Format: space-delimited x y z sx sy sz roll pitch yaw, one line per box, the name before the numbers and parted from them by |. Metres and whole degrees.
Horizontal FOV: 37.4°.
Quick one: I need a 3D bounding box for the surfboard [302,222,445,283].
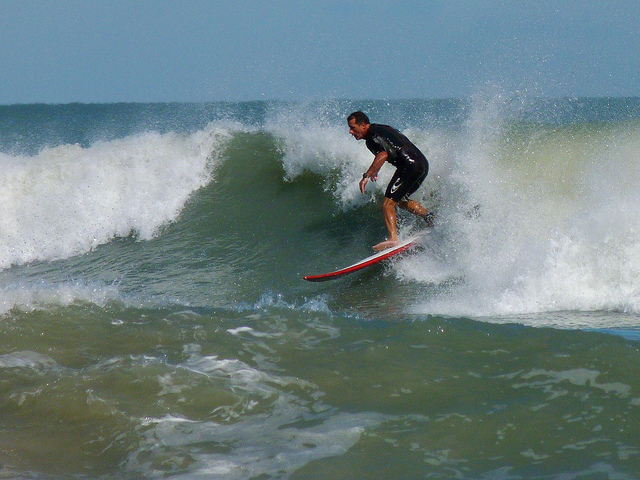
surfboard | 0.811 0.205 13.616 1.616 0.175 0.212 -25 12 -9
